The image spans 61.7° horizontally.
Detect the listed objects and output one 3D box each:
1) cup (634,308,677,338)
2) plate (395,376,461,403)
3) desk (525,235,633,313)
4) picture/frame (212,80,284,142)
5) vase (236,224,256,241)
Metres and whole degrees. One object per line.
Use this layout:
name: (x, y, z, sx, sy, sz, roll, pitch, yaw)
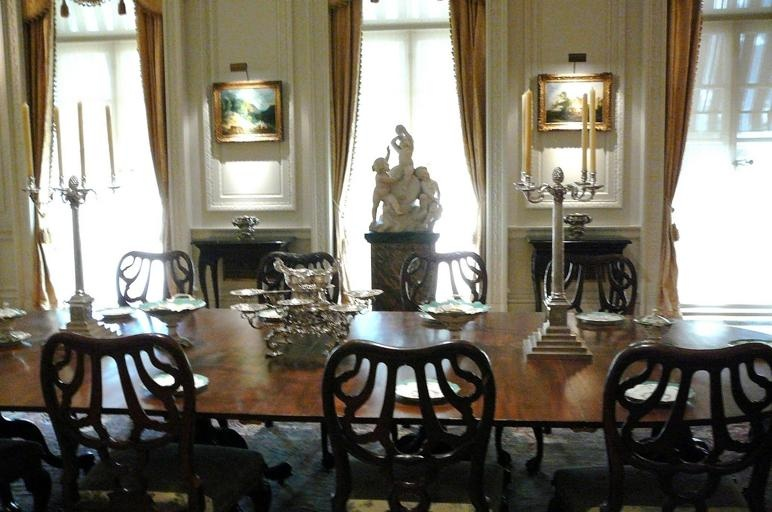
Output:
cup: (1.541, 0.403, 3.691, 0.200, 0.163, 0.199, 0, 3, 0)
plate: (0.196, 0.655, 3.150, 0.307, 0.057, 0.268, 2, 9, 30)
desk: (1.925, 0.294, 6.456, 0.936, 0.883, 0.644, -1, 1, 10)
picture/frame: (-1.429, -1.534, 6.804, 0.669, 0.546, 0.077, 0, 4, 4)
vase: (-1.445, -0.237, 6.658, 0.166, 0.152, 0.163, 0, 2, 1)
